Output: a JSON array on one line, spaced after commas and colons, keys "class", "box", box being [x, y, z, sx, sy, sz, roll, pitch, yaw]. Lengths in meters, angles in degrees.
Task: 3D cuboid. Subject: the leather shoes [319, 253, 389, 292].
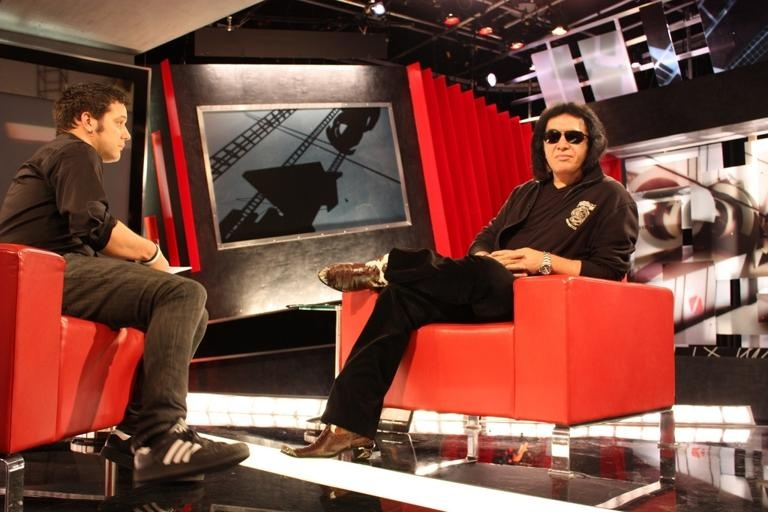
[{"class": "leather shoes", "box": [-0.137, 0.085, 2.927, 0.448, 0.137, 0.179, -1, 3, 12]}]

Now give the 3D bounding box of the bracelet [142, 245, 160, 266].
[{"class": "bracelet", "box": [-1.108, -0.009, 2.851, 0.093, 0.033, 0.092, -26, 6, 21]}]

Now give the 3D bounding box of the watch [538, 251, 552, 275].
[{"class": "watch", "box": [0.795, 0.044, 2.897, 0.064, 0.094, 0.099, 3, 14, 11]}]
